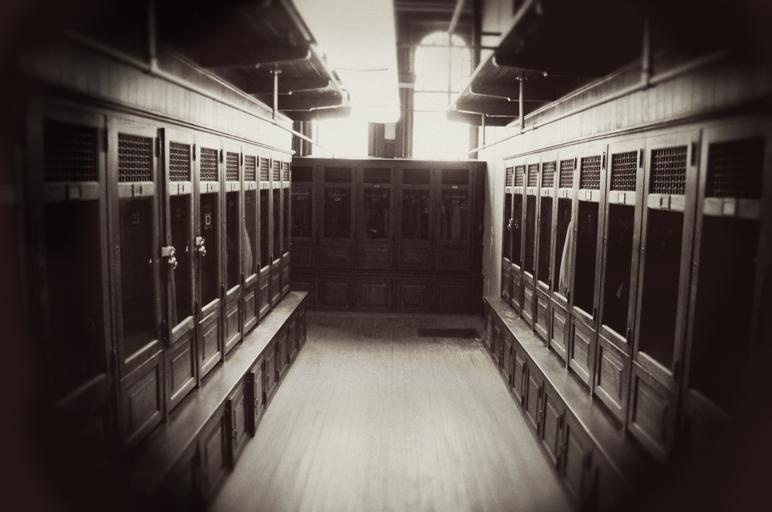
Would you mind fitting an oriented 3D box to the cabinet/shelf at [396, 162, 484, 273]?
[{"bbox_3d":[1.014,-0.687,9.899,1.778,2.723,0.766,1,1,-2],"label":"cabinet/shelf"}]

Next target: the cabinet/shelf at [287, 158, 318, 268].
[{"bbox_3d":[-1.569,-0.682,9.965,0.136,1.896,0.546,1,2,34],"label":"cabinet/shelf"}]
